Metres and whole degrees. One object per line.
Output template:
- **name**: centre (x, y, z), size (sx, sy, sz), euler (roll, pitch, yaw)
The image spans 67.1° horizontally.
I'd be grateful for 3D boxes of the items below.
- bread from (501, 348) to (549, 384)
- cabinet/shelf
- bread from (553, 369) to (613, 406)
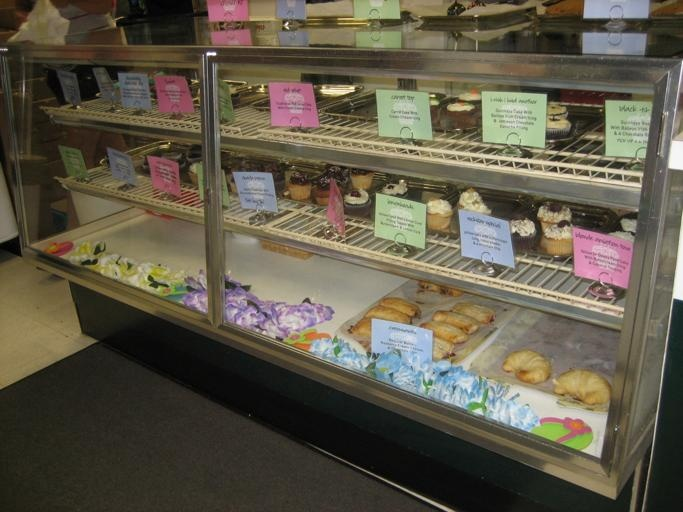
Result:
- **bread**: centre (0.723, 0.423, 1.988), size (0.163, 0.050, 0.175), euler (-20, 28, -35)
- **cabinet/shelf**: centre (-0.092, -0.134, 2.259), size (2.794, 1.564, 0.848), euler (12, 33, 31)
- **bread**: centre (0.862, 0.474, 1.853), size (0.184, 0.050, 0.147), euler (4, 24, 16)
